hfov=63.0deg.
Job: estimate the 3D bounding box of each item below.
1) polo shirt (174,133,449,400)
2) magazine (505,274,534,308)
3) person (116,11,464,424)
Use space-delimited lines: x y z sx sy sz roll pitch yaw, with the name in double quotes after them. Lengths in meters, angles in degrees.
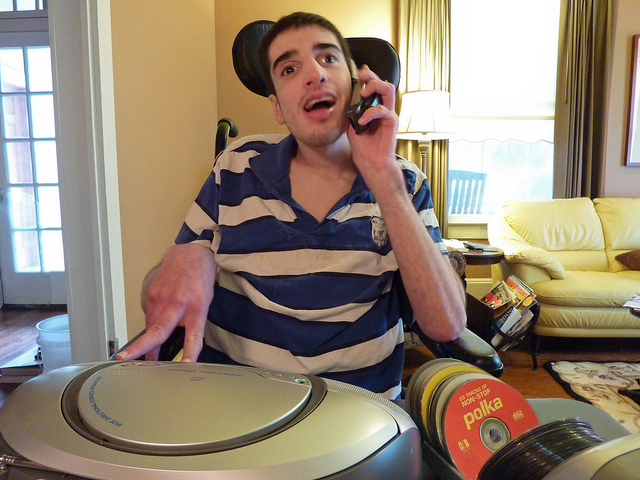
-0.069 0.087 1.614 0.584 0.799 0.547 4 10 7 "polo shirt"
1.103 0.274 2.914 0.035 0.147 0.147 21 30 -35 "magazine"
-0.058 0.087 1.436 0.694 1.351 0.659 1 14 -3 "person"
